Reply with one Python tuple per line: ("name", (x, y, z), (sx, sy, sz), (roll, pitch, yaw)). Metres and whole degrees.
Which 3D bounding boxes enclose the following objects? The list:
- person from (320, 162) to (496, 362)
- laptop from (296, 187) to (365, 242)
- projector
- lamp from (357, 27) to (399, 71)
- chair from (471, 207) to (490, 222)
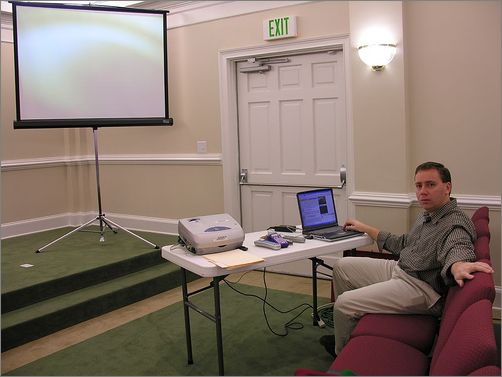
("person", (1.062, 0.461, 2.464), (0.729, 1.173, 1.309), (6, 9, 10))
("laptop", (0.588, 0.217, 2.922), (0.466, 0.414, 0.354), (2, -9, -41))
("projector", (-0.286, 0.322, 2.609), (0.404, 0.224, 0.293), (-5, 9, -22))
("lamp", (1.195, -1.351, 3.646), (0.372, 0.435, 0.385), (-3, 15, 1))
("chair", (1.740, 0.190, 2.773), (0.108, 0.135, 0.101), (-8, 3, -5))
